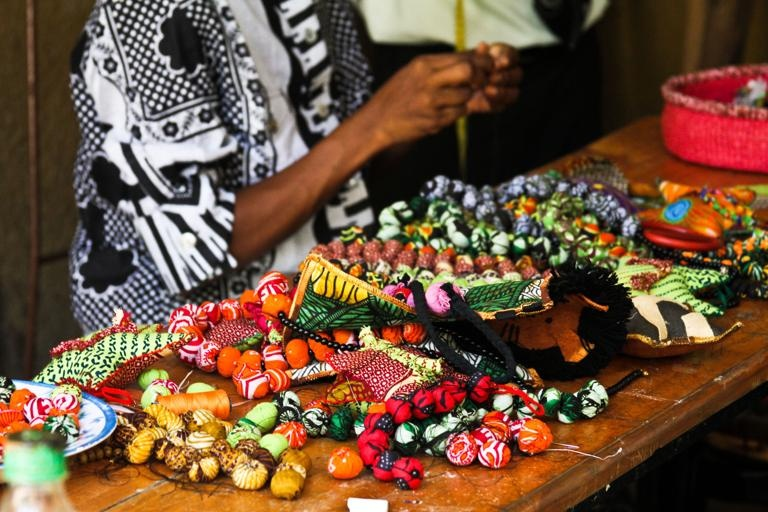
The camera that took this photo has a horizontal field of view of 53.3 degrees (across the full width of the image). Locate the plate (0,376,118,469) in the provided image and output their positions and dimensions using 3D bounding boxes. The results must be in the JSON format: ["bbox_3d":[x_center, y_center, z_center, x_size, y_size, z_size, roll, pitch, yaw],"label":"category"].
[{"bbox_3d":[-0.406,0.194,0.962,0.110,0.026,0.118,23,22,36],"label":"plate"}]
